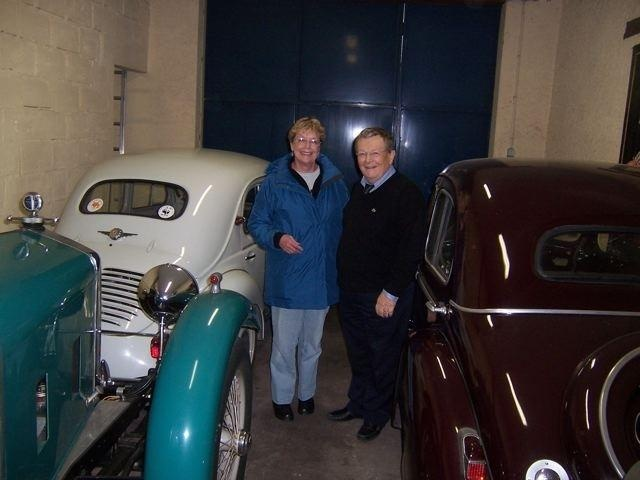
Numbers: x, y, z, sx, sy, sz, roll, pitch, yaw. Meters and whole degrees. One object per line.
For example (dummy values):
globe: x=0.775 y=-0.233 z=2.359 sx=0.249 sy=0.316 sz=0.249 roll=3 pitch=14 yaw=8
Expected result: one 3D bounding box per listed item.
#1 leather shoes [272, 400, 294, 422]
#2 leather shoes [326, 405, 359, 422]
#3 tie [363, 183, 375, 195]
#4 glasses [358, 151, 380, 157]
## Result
leather shoes: x=-0.268 y=1.234 z=3.432 sx=0.072 sy=0.084 sz=0.190 roll=-3 pitch=4 yaw=-34
leather shoes: x=0.161 y=1.270 z=3.481 sx=0.260 sy=0.117 sz=0.095 roll=5 pitch=19 yaw=-11
tie: x=0.316 y=-0.329 z=3.076 sx=0.014 sy=0.063 sz=0.050 roll=9 pitch=-2 yaw=-42
glasses: x=0.313 y=-0.538 z=2.977 sx=0.114 sy=0.041 sz=0.024 roll=9 pitch=15 yaw=27
